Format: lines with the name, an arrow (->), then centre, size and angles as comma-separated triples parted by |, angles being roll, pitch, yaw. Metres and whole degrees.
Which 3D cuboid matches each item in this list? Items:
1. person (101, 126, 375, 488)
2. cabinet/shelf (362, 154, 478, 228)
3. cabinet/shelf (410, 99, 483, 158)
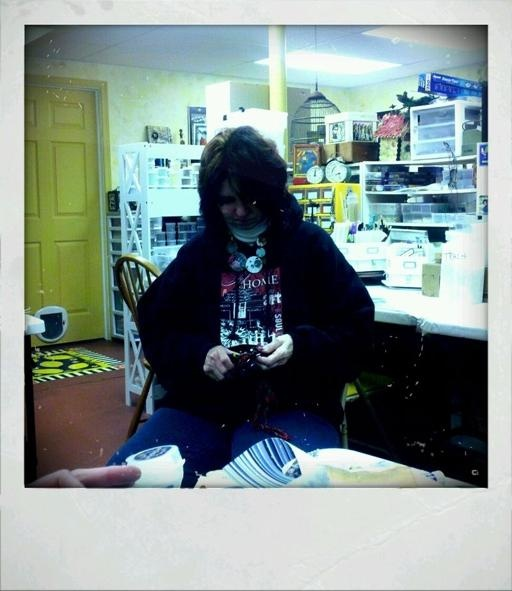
person -> -0.045, 0.036, 1.655 | 0.794, 1.346, 0.795 | 0, 3, 11
cabinet/shelf -> 0.443, -0.287, 1.471 | 0.291, 0.188, 0.223 | -1, 10, 13
cabinet/shelf -> 0.498, -0.440, 1.388 | 0.178, 0.148, 0.127 | 1, 10, 23
